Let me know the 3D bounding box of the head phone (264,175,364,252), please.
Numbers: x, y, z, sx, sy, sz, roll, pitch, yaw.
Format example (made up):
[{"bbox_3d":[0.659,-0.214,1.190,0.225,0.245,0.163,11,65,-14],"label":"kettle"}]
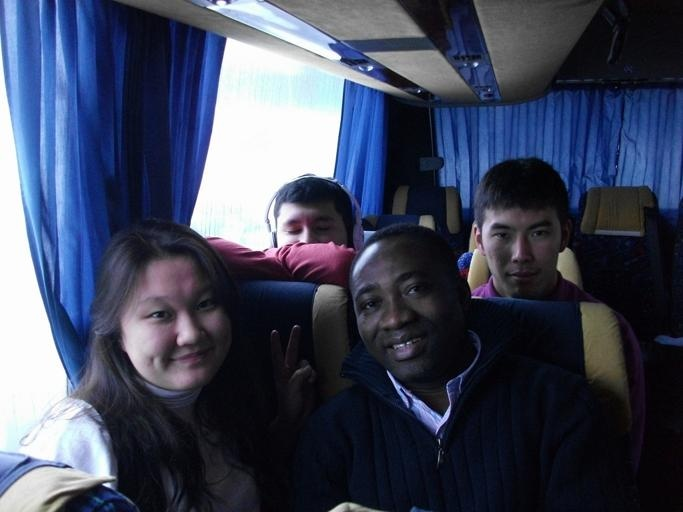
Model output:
[{"bbox_3d":[-0.116,-0.159,2.159,0.290,0.329,0.375,0,-34,-4],"label":"head phone"}]
